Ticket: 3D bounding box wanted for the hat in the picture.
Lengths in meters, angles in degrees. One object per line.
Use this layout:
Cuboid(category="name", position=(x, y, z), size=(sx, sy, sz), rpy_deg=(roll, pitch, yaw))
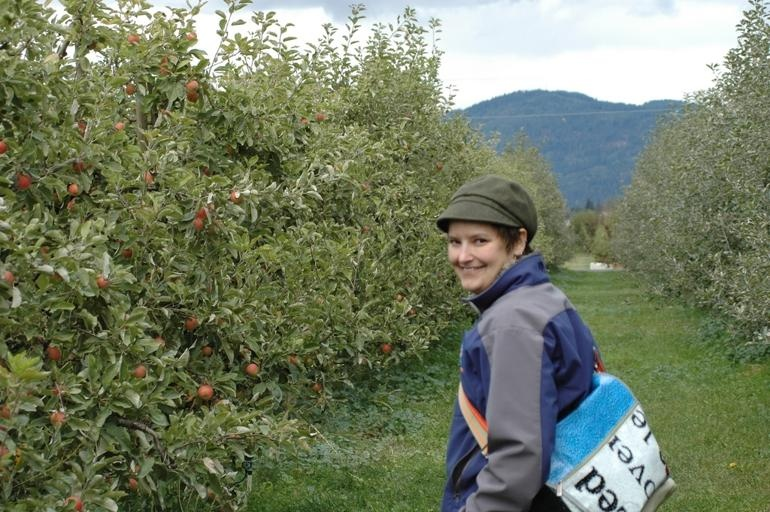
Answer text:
Cuboid(category="hat", position=(0.533, -0.241, 3.183), size=(0.407, 0.249, 0.317), rpy_deg=(-4, 8, -27))
